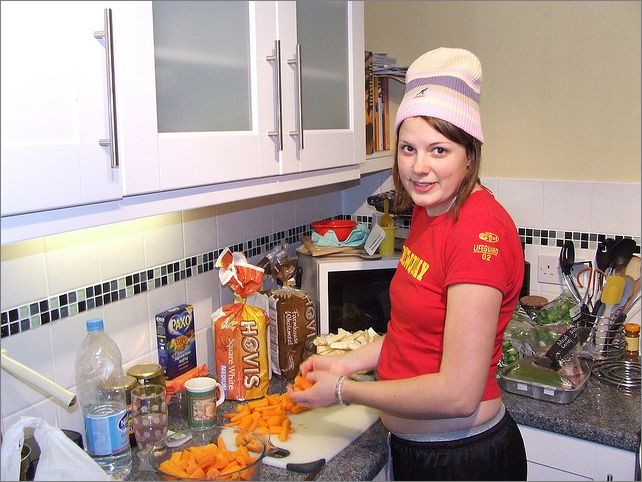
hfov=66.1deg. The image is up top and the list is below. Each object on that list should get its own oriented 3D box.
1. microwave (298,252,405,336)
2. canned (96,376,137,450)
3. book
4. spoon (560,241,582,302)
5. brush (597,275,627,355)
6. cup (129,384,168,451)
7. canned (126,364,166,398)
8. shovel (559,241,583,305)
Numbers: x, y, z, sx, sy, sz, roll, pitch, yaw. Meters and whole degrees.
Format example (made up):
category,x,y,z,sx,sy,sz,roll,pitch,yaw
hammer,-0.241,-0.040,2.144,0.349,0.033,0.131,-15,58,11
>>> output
category,x,y,z,sx,sy,sz,roll,pitch,yaw
microwave,0.109,0.142,2.034,0.352,0.320,0.338,-3,17,-19
canned,-0.574,0.469,1.372,0.075,0.176,0.080,11,16,29
book,0.272,-0.628,2.218,0.170,0.506,0.209,-10,21,-31
spoon,0.999,0.101,2.005,0.058,0.318,0.052,10,-18,-36
brush,1.067,0.273,1.863,0.077,0.282,0.103,3,13,11
cup,-0.472,0.472,1.351,0.097,0.192,0.094,6,14,-2
canned,-0.510,0.391,1.412,0.075,0.082,0.080,-1,0,-2
shovel,0.992,0.096,2.006,0.049,0.318,0.061,-18,-23,36
